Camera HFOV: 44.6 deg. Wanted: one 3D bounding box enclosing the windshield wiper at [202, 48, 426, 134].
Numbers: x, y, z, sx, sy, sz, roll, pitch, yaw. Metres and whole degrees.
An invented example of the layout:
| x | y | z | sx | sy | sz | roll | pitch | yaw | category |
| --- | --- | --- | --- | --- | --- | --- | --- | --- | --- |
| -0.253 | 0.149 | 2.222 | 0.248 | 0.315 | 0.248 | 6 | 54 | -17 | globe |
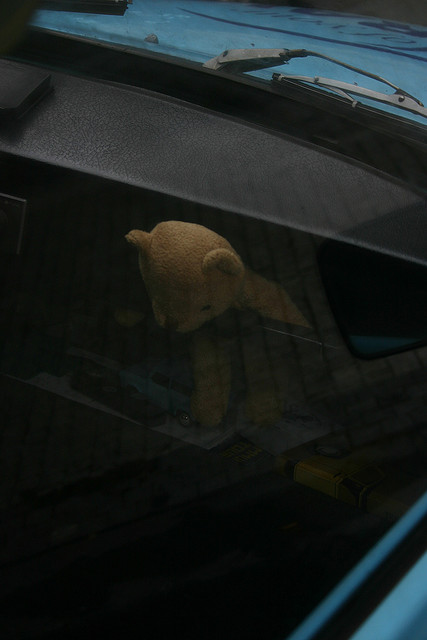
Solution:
| x | y | z | sx | sy | sz | roll | pitch | yaw | category |
| --- | --- | --- | --- | --- | --- | --- | --- | --- | --- |
| 0.226 | -0.538 | 1.236 | 0.586 | 0.085 | 0.069 | 19 | 58 | 4 | windshield wiper |
